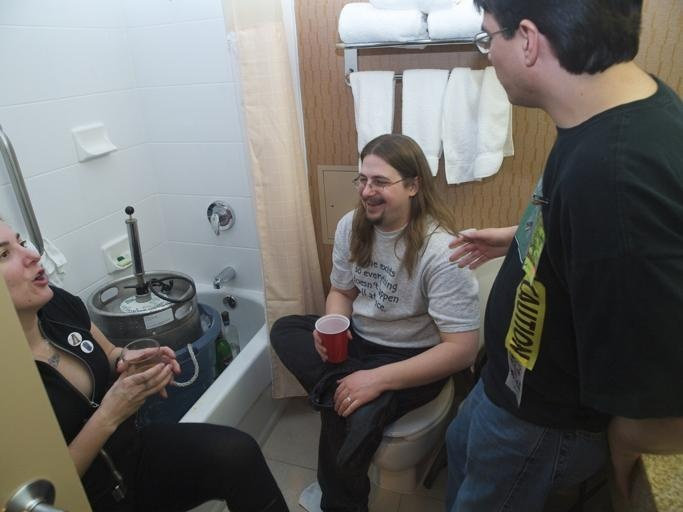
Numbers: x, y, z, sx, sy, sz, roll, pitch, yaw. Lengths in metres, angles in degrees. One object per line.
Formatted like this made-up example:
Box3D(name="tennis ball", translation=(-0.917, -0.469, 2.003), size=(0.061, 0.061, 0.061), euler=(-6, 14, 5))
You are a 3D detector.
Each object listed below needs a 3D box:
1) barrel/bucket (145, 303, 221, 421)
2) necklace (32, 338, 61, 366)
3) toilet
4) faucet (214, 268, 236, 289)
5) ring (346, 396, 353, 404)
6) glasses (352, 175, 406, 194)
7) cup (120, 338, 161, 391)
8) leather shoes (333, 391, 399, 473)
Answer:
Box3D(name="barrel/bucket", translation=(-0.606, 0.458, 1.947), size=(0.293, 0.356, 0.360), euler=(6, 35, 4))
Box3D(name="necklace", translation=(-0.893, 0.297, 1.437), size=(0.078, 0.019, 0.059), euler=(43, 16, 13))
Box3D(name="toilet", translation=(0.279, 0.696, 1.837), size=(0.372, 0.270, 0.289), euler=(-24, 17, -30))
Box3D(name="faucet", translation=(-0.617, 0.103, 2.489), size=(0.083, 0.068, 0.126), euler=(7, 26, 26))
Box3D(name="ring", translation=(0.028, 0.485, 1.592), size=(0.021, 0.023, 0.007), euler=(4, -2, 12))
Box3D(name="glasses", translation=(0.142, -0.261, 1.694), size=(0.165, 0.050, 0.059), euler=(0, 24, 18))
Box3D(name="cup", translation=(-0.643, 0.310, 1.510), size=(0.114, 0.064, 0.163), euler=(-21, 27, -28))
Box3D(name="leather shoes", translation=(0.075, 0.585, 1.601), size=(0.149, 0.264, 0.089), euler=(15, 9, -40))
